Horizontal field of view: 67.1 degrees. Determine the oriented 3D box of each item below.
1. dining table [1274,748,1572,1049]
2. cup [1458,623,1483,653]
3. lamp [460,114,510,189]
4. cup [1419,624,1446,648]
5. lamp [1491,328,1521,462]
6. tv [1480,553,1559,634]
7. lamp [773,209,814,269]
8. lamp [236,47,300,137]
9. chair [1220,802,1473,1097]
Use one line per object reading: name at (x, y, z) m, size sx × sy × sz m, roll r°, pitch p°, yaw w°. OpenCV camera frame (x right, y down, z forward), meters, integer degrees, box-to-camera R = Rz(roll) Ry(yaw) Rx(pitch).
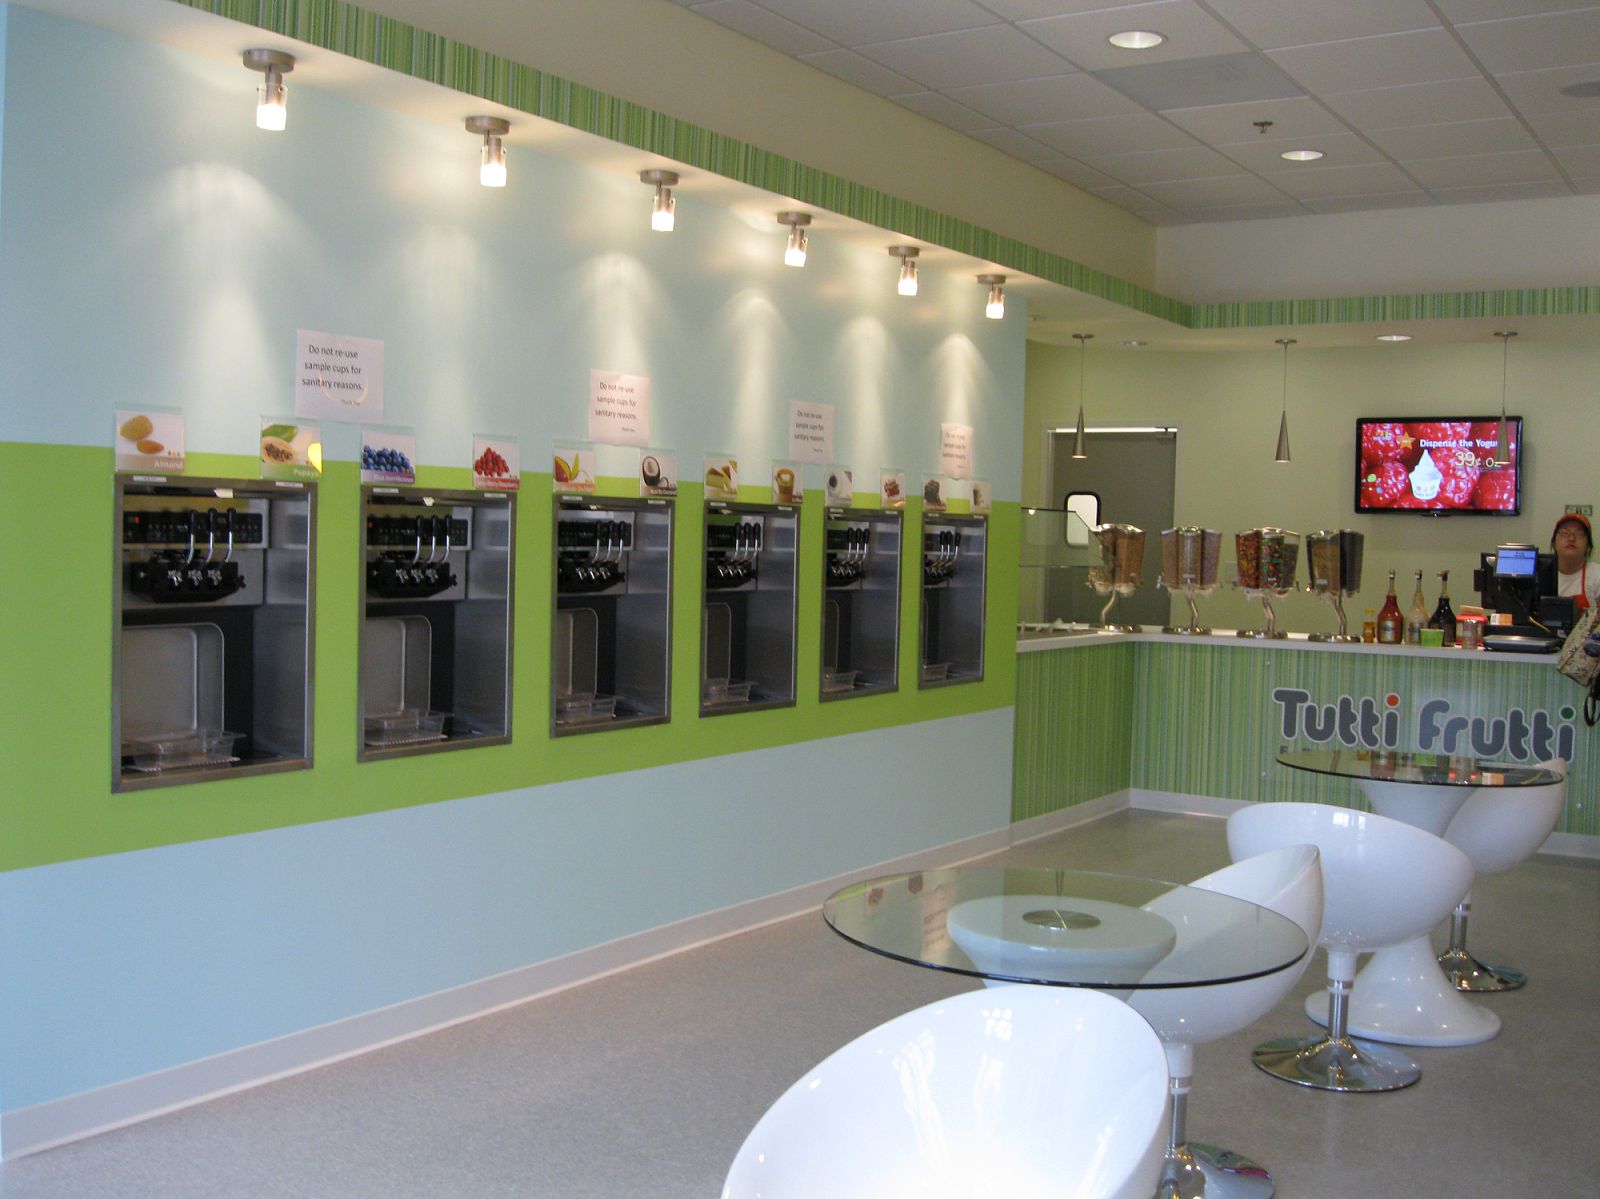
dining table at (2.579, 1.160, 5.027) m, size 1.035 × 1.124 × 1.048 m, roll 1°, pitch 0°, yaw 32°
cup at (4.165, 0.226, 7.524) m, size 0.142 × 0.167 × 0.190 m, roll 4°, pitch 4°, yaw 30°
lamp at (-1.133, -1.603, 4.405) m, size 0.160 × 0.240 × 0.348 m, roll 0°, pitch 4°, yaw -15°
cup at (3.983, 0.251, 7.626) m, size 0.177 × 0.132 × 0.097 m, roll -1°, pitch -5°, yaw -6°
lamp at (5.189, -1.491, 8.878) m, size 0.154 × 0.803 × 0.180 m, roll 3°, pitch 4°, yaw 27°
tv at (4.553, -0.023, 7.639) m, size 0.426 × 0.625 × 0.326 m, roll -4°, pitch -7°, yaw 40°
lamp at (-0.020, -1.647, 5.514) m, size 0.215 × 0.359 × 0.222 m, roll 2°, pitch 12°, yaw 3°
lamp at (-1.639, -1.584, 3.771) m, size 0.163 × 0.210 × 0.170 m, roll -3°, pitch 5°, yaw -14°
chair at (2.149, 1.270, 4.769) m, size 0.892 × 1.222 × 1.002 m, roll -1°, pitch 0°, yaw 12°
